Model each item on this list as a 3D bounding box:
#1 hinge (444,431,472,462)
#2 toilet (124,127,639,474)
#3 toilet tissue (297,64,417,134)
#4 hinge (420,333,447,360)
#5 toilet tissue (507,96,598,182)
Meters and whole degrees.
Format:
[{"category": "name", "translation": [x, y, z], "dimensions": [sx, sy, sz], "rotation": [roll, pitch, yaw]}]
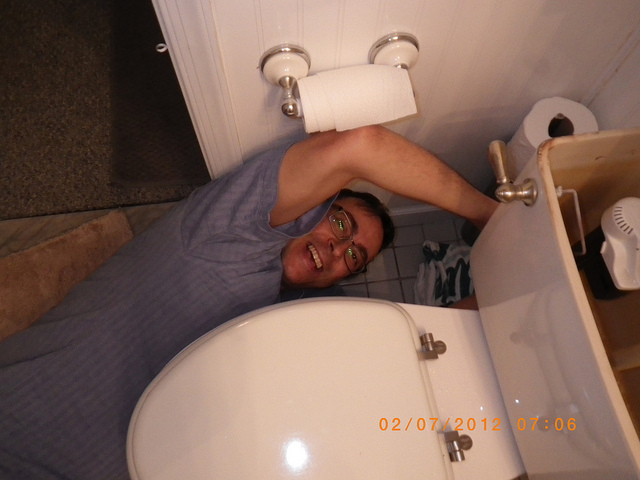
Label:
[{"category": "hinge", "translation": [0.298, 0.438, 0.966], "dimensions": [0.063, 0.028, 0.060], "rotation": [-2, 55, -13]}, {"category": "toilet", "translation": [0.135, 0.136, 1.043], "dimensions": [0.705, 0.815, 0.463], "rotation": [1, 84, -6]}, {"category": "toilet tissue", "translation": [0.089, -0.328, 1.112], "dimensions": [0.245, 0.104, 0.150], "rotation": [-9, 77, -6]}, {"category": "hinge", "translation": [0.249, 0.235, 1.006], "dimensions": [0.060, 0.040, 0.049], "rotation": [-2, 69, -42]}, {"category": "toilet tissue", "translation": [0.591, -0.283, 1.264], "dimensions": [0.201, 0.245, 0.244], "rotation": [-1, 84, 2]}]
